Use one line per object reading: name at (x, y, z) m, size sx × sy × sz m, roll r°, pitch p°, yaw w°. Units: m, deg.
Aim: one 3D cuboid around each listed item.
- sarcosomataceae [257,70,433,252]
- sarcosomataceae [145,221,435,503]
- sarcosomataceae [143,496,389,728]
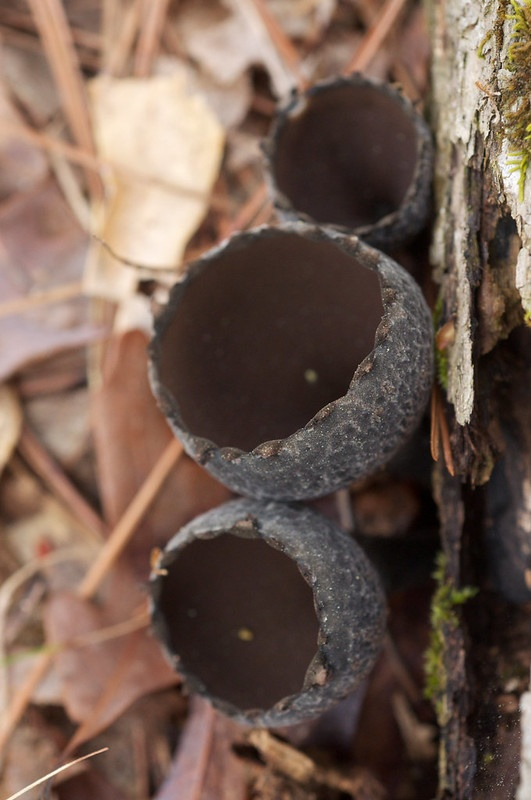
sarcosomataceae at (0.107, -0.315, 1.105) m, size 0.242 × 0.167 × 0.184 m, roll 9°, pitch 82°, yaw 10°
sarcosomataceae at (0.044, -0.048, 1.017) m, size 0.347 × 0.231 × 0.312 m, roll -18°, pitch 80°, yaw 6°
sarcosomataceae at (0.013, 0.231, 1.037) m, size 0.311 × 0.222 × 0.285 m, roll 2°, pitch 94°, yaw 9°
